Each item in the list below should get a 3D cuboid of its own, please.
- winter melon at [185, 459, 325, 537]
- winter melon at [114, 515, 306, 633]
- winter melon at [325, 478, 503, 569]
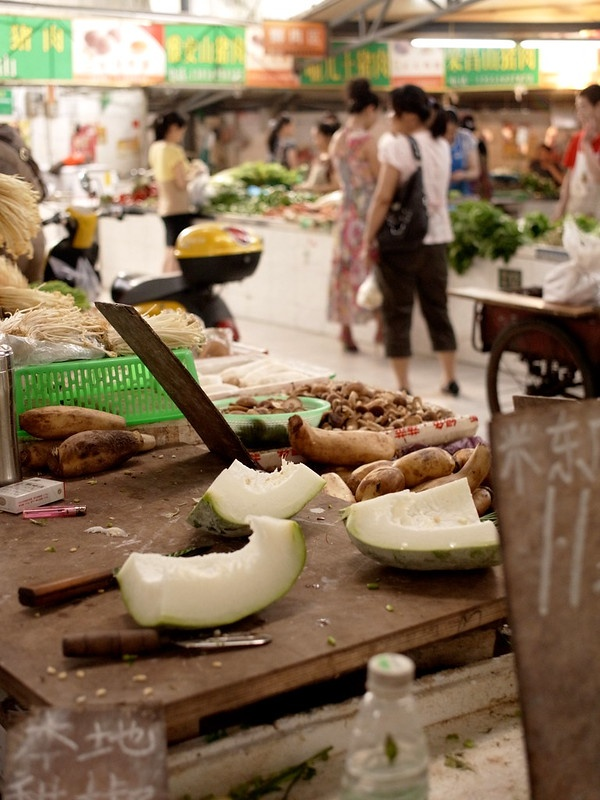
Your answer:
[{"bbox_3d":[-0.086,0.142,1.188,0.179,0.062,0.156,6,23,28],"label":"winter melon"},{"bbox_3d":[-0.112,0.236,0.919,0.213,0.075,0.142,-15,35,-18],"label":"winter melon"},{"bbox_3d":[0.168,0.173,1.136,0.257,0.129,0.278,-7,14,-4],"label":"winter melon"}]
